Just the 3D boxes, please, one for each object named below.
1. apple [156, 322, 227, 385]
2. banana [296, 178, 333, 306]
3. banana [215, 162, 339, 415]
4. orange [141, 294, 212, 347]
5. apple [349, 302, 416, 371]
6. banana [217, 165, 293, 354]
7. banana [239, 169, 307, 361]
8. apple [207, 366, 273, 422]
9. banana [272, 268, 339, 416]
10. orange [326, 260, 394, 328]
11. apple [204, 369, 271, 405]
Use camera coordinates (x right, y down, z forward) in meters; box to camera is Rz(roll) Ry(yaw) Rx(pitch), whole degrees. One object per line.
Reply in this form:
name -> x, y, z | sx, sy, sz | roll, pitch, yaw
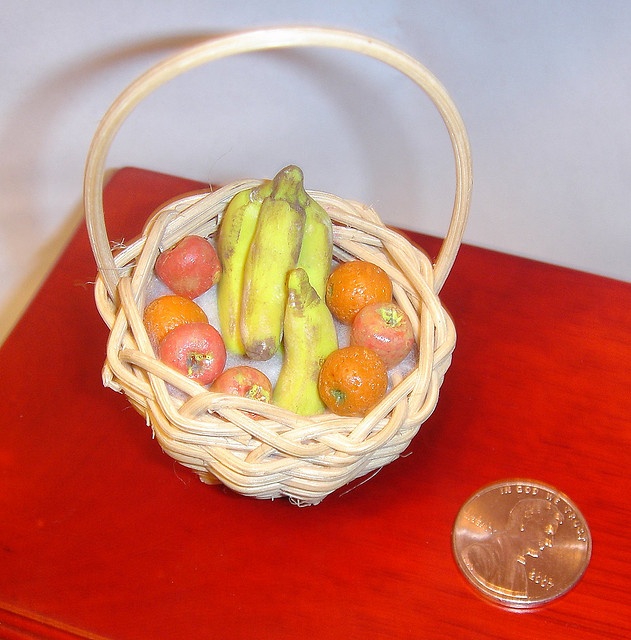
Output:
apple -> -0.119, 0.032, 0.757 | 0.070, 0.059, 0.064 | -7, 13, -9
banana -> 0.001, -0.079, 0.808 | 0.041, 0.122, 0.042 | 0, 25, 10
banana -> -0.043, -0.034, 0.828 | 0.137, 0.256, 0.091 | 2, 4, 7
orange -> -0.159, 0.004, 0.820 | 0.061, 0.056, 0.060 | 22, 4, 27
apple -> 0.069, 0.012, 0.824 | 0.073, 0.062, 0.064 | 17, 45, -5
banana -> -0.048, -0.071, 0.844 | 0.073, 0.211, 0.075 | 16, -5, -16
banana -> -0.026, -0.056, 0.806 | 0.060, 0.198, 0.058 | 11, -5, 4
apple -> -0.073, 0.082, 0.776 | 0.054, 0.053, 0.052 | -39, 5, -22
banana -> -0.017, 0.023, 0.772 | 0.058, 0.156, 0.094 | 3, 32, 17
orange -> 0.047, -0.037, 0.843 | 0.076, 0.066, 0.074 | -4, -18, 0
apple -> -0.083, 0.068, 0.773 | 0.041, 0.043, 0.042 | -59, 12, -29
